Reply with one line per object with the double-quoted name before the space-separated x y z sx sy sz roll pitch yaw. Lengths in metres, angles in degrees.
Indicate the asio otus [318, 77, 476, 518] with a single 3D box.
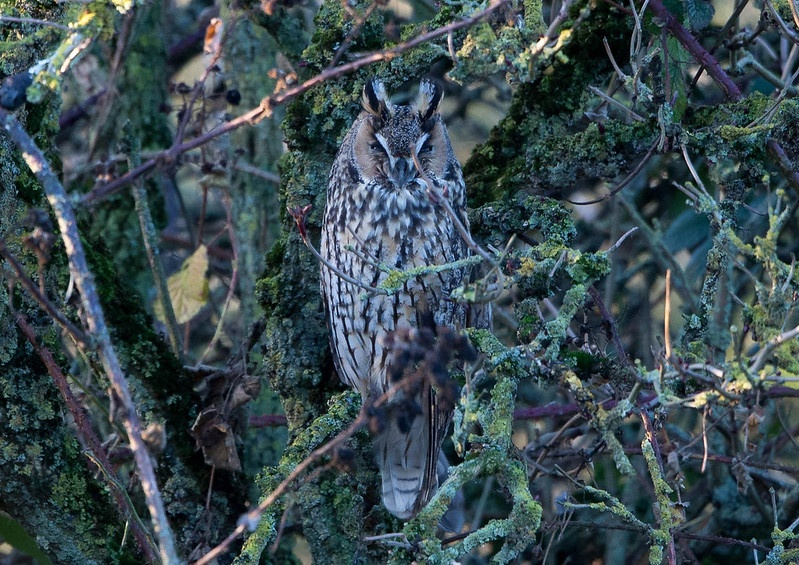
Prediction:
"asio otus" 0.031 0.060 5.339 0.747 1.898 0.616 -6 0 -19
